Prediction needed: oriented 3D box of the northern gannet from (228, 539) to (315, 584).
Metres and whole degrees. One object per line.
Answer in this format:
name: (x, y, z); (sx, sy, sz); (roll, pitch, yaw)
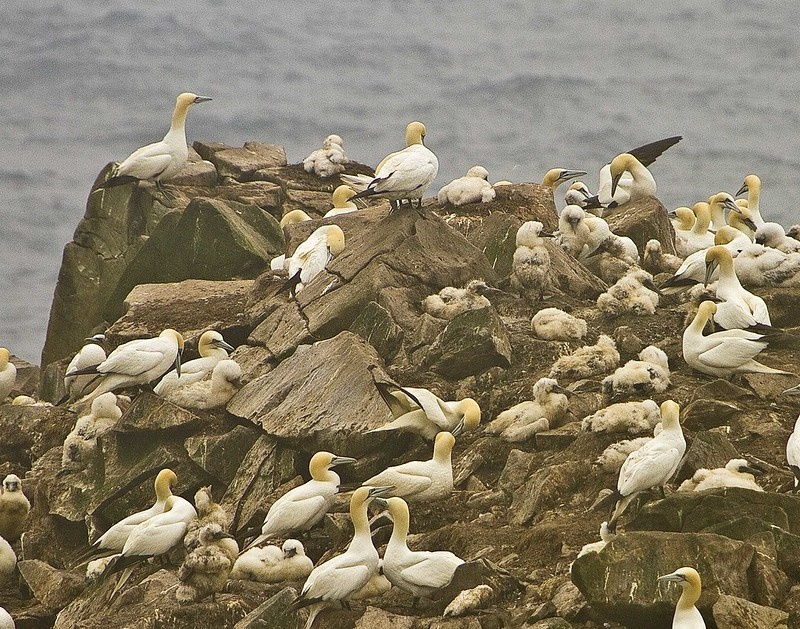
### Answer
northern gannet: (-2.143, 4.121, 27.694); (1.106, 0.444, 0.769); (-1, 2, 12)

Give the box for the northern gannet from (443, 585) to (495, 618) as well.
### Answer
northern gannet: (1.091, 4.446, 25.630); (0.714, 0.302, 0.394); (-22, 49, -8)
